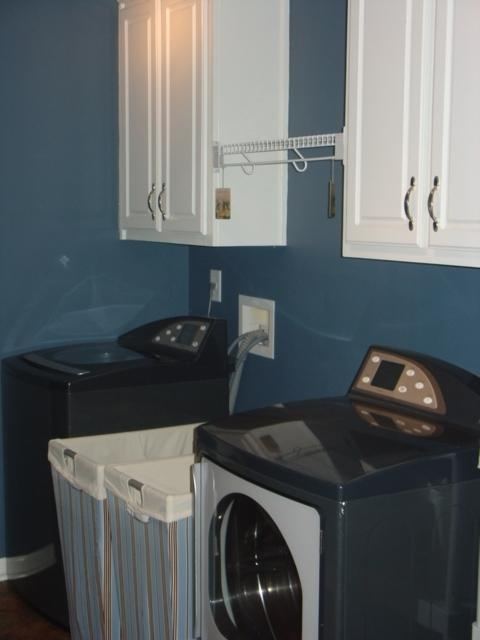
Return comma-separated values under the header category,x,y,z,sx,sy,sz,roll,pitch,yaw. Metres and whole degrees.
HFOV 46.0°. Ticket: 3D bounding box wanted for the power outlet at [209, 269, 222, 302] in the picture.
category,x,y,z,sx,sy,sz,roll,pitch,yaw
power outlet,-0.110,-0.159,2.636,0.019,0.223,0.113,-4,9,-25
